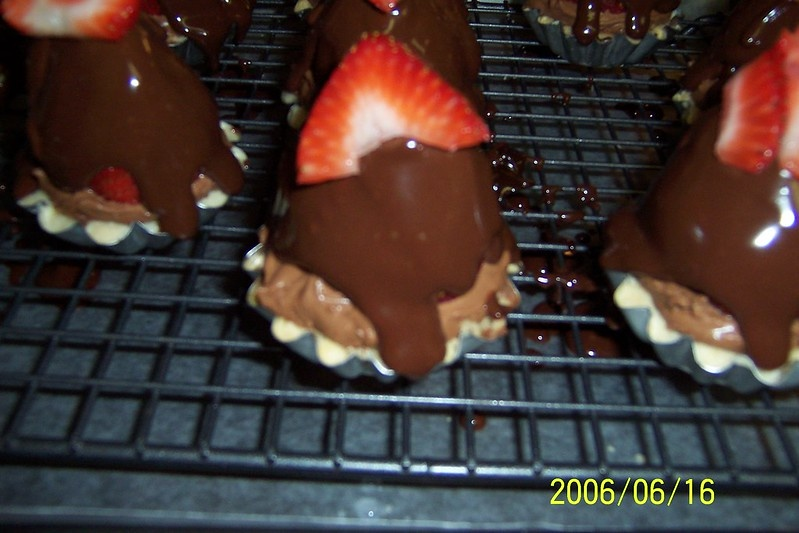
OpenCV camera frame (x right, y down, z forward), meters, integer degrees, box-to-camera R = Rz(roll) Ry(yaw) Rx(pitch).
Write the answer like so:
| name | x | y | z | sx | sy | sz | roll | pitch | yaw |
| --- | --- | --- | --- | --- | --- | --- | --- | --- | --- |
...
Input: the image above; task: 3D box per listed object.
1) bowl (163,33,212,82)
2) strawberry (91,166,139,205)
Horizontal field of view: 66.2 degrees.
| name | x | y | z | sx | sy | sz | roll | pitch | yaw |
| --- | --- | --- | --- | --- | --- | --- | --- | --- | --- |
| bowl | -0.753 | -0.774 | 2.253 | 0.157 | 0.201 | 0.050 | 17 | 65 | 20 |
| strawberry | -0.814 | -0.235 | 1.786 | 0.114 | 0.099 | 0.066 | 5 | 20 | -4 |
